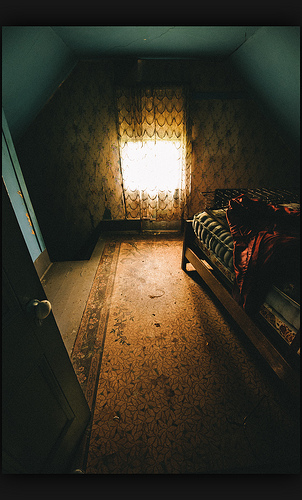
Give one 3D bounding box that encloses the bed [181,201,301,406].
[{"bbox_3d":[0.536,0.104,1.516,0.328,0.726,1.145,-2,18,-15],"label":"bed"}]
